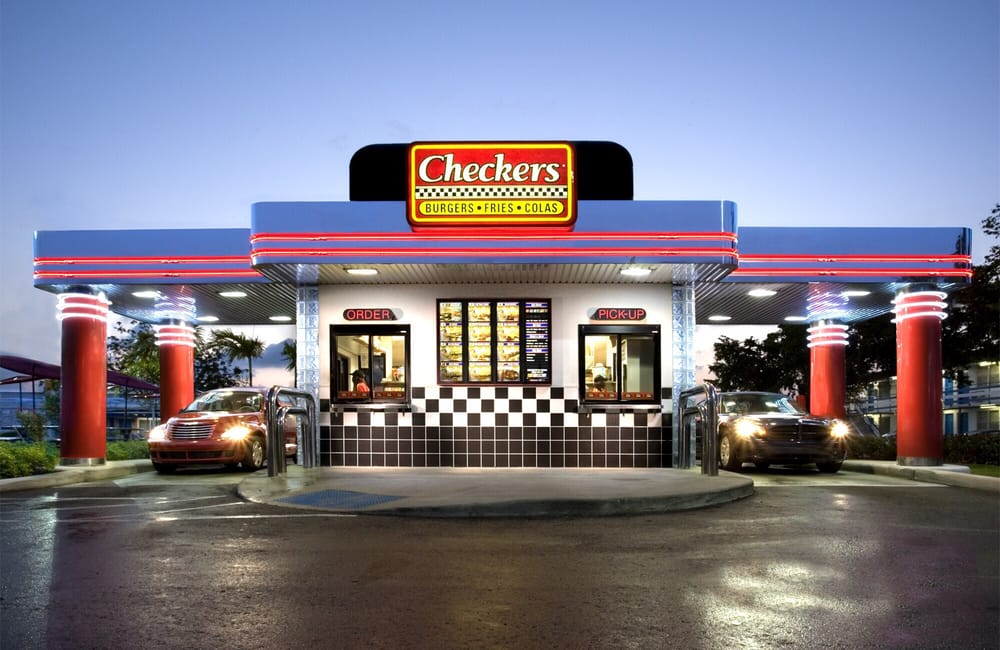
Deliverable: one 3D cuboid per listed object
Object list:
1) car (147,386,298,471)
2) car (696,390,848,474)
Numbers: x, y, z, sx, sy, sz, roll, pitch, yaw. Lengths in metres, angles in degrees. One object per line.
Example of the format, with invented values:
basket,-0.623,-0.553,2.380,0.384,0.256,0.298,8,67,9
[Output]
car,-6.363,2.479,19.527,2.248,1.472,3.560,-4,-12,8
car,6.173,2.423,18.434,2.220,1.830,2.261,2,-7,-24
